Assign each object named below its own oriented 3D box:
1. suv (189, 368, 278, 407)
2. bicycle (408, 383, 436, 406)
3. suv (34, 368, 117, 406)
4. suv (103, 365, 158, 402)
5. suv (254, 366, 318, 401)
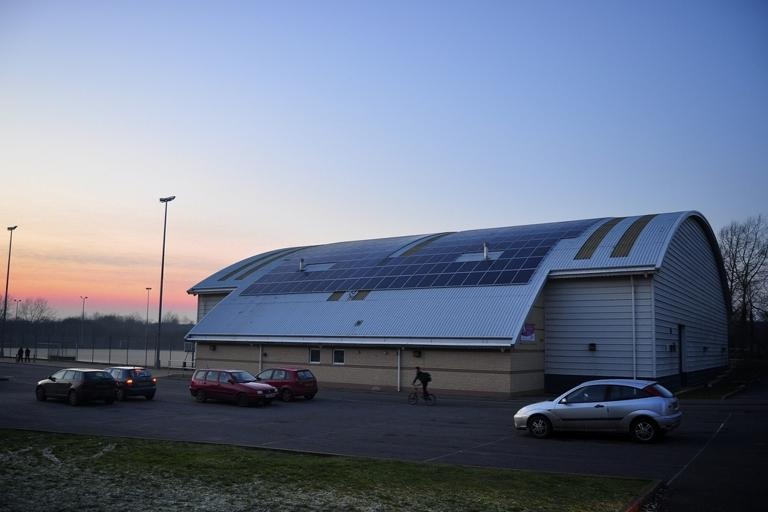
[{"bbox_3d":[-7.390,6.406,31.139,4.055,1.592,1.117,-4,-11,29],"label":"suv"},{"bbox_3d":[1.733,7.035,32.186,2.170,0.896,1.038,-2,-4,32],"label":"bicycle"},{"bbox_3d":[-14.381,6.122,29.945,3.308,1.569,1.249,-2,-10,20],"label":"suv"},{"bbox_3d":[-13.058,6.300,32.088,3.012,0.805,1.474,-2,-4,39],"label":"suv"},{"bbox_3d":[-5.371,6.666,33.771,3.915,1.134,2.058,-3,-3,39],"label":"suv"}]
